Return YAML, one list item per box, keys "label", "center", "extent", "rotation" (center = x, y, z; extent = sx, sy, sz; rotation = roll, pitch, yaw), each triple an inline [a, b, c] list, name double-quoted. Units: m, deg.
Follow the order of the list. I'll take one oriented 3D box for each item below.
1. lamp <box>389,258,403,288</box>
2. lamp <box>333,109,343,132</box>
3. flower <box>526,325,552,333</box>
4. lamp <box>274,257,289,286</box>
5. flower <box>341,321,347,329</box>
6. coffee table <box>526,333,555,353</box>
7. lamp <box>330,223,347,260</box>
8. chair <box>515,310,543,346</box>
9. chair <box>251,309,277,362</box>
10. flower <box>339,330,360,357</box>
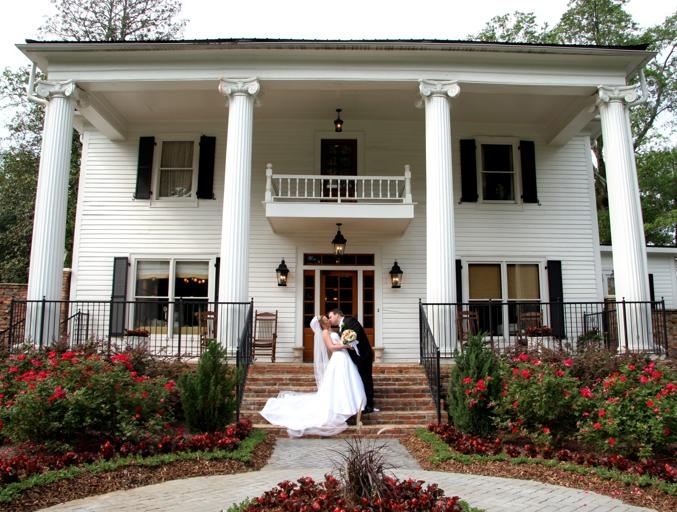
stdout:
- label: "lamp"
  center: [1.602, 0.504, 14.731]
  extent: [0.369, 0.775, 0.249]
  rotation: [-1, -9, 6]
- label: "lamp"
  center: [0.007, -3.865, 15.103]
  extent: [0.286, 0.549, 0.631]
  rotation: [0, -9, 1]
- label: "flower"
  center: [5.051, 1.895, 13.418]
  extent: [0.656, 0.201, 0.377]
  rotation: [0, -9, -2]
- label: "lamp"
  center: [-1.542, 0.446, 14.688]
  extent: [0.368, 0.770, 0.302]
  rotation: [1, -9, -6]
- label: "flower"
  center: [0.112, 1.403, 10.680]
  extent: [0.089, 0.121, 0.114]
  rotation: [0, -8, -4]
- label: "coffee table"
  center: [4.812, 2.065, 12.629]
  extent: [0.732, 0.309, 4.662]
  rotation: [-4, -9, 22]
- label: "lamp"
  center: [0.009, -0.438, 14.448]
  extent: [0.428, 0.785, 1.049]
  rotation: [0, -9, 0]
- label: "chair"
  center: [4.863, 1.857, 13.465]
  extent: [0.547, 0.511, 0.995]
  rotation: [-6, 0, 14]
- label: "chair"
  center: [-1.947, 2.141, 14.181]
  extent: [0.622, 1.337, 0.824]
  rotation: [1, -9, -7]
- label: "flower"
  center: [0.254, 1.696, 10.306]
  extent: [0.335, 0.463, 0.411]
  rotation: [-11, -11, 29]
